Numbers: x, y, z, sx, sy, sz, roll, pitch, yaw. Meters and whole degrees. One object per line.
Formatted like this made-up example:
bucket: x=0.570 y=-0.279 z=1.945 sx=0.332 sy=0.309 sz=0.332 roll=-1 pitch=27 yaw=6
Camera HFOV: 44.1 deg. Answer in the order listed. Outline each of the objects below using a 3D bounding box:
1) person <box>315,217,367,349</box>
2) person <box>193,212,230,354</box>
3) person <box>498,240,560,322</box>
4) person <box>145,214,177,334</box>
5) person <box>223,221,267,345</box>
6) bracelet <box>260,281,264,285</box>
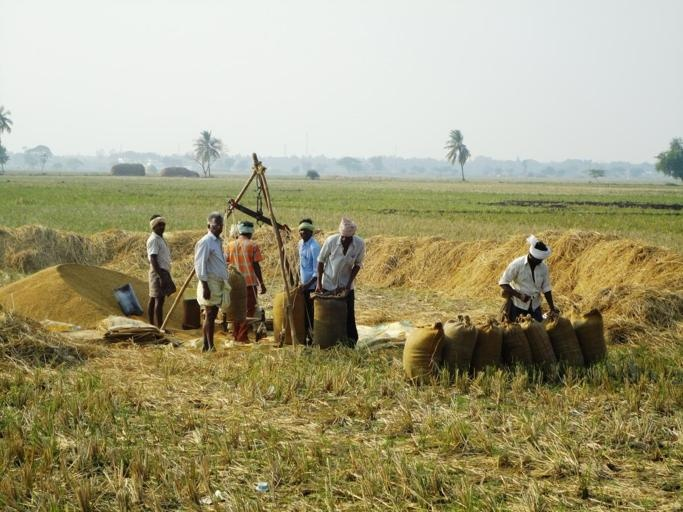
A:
person: x=-0.027 y=0.398 z=12.435 sx=0.683 sy=1.917 sz=0.597 roll=1 pitch=6 yaw=-2
person: x=-1.909 y=0.391 z=12.468 sx=0.491 sy=2.052 sz=0.626 roll=0 pitch=6 yaw=-9
person: x=2.534 y=0.322 z=11.558 sx=0.684 sy=1.213 sz=0.630 roll=2 pitch=6 yaw=6
person: x=-2.870 y=0.283 z=13.452 sx=0.414 sy=1.826 sz=0.663 roll=0 pitch=6 yaw=-12
person: x=-1.575 y=0.398 z=13.795 sx=0.626 sy=1.915 sz=1.222 roll=1 pitch=6 yaw=-8
bracelet: x=-1.286 y=0.447 z=13.626 sx=0.044 sy=0.049 sz=0.046 roll=0 pitch=-5 yaw=15
